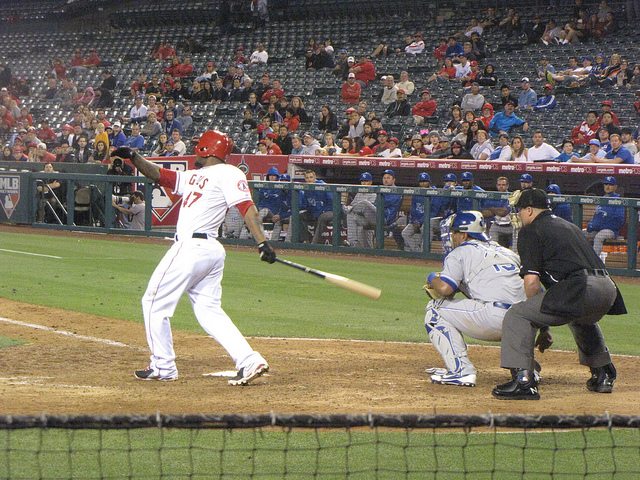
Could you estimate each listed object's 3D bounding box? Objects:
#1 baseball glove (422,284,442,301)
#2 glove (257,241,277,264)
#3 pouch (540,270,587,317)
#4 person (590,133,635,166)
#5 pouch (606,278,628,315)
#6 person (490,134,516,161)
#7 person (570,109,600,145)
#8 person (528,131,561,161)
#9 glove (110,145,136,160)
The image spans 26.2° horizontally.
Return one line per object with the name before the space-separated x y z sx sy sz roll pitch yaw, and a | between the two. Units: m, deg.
baseball glove | 1.617 0.776 20.472 0.155 0.343 0.134 -42 2 5
glove | -0.794 0.169 20.223 0.238 0.328 0.596 -2 2 -3
pouch | 3.469 0.767 19.646 0.661 0.670 0.114 -2 2 6
person | 5.796 -1.846 28.107 0.943 0.652 0.648 -3 -1 -28
pouch | 4.364 0.837 20.345 0.258 0.599 1.051 -2 2 12
person | 3.889 -1.972 29.333 0.434 0.573 0.726 4 4 -18
person | 5.778 -2.456 30.250 0.570 0.663 1.290 -3 2 -17
person | 4.682 -1.930 29.033 0.821 0.692 0.418 0 -3 27
glove | -2.899 -1.305 20.213 0.301 0.104 0.223 2 -16 -44
